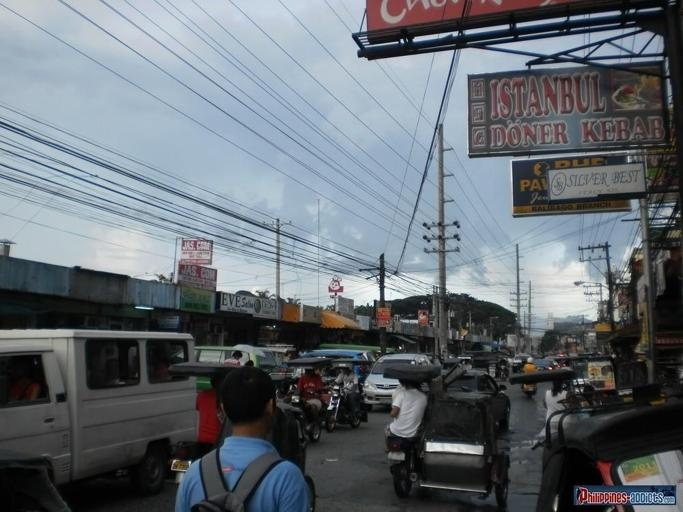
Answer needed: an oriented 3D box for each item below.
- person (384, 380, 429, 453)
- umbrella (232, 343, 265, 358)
[{"bbox_3d":[1.102,2.624,9.035,0.778,1.092,0.606,2,-8,-9],"label":"person"},{"bbox_3d":[-3.039,3.182,18.377,0.513,0.259,0.950,1,-2,44],"label":"umbrella"}]
